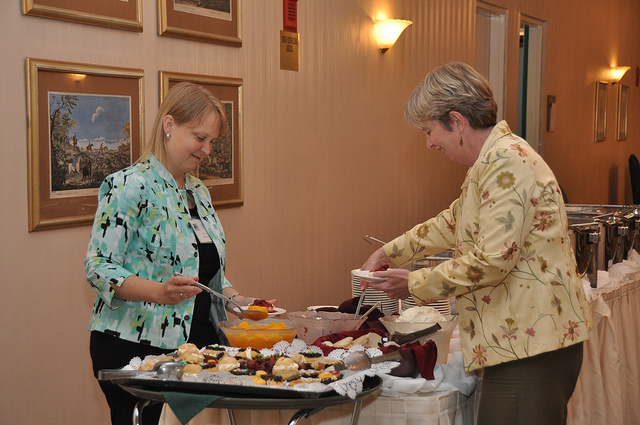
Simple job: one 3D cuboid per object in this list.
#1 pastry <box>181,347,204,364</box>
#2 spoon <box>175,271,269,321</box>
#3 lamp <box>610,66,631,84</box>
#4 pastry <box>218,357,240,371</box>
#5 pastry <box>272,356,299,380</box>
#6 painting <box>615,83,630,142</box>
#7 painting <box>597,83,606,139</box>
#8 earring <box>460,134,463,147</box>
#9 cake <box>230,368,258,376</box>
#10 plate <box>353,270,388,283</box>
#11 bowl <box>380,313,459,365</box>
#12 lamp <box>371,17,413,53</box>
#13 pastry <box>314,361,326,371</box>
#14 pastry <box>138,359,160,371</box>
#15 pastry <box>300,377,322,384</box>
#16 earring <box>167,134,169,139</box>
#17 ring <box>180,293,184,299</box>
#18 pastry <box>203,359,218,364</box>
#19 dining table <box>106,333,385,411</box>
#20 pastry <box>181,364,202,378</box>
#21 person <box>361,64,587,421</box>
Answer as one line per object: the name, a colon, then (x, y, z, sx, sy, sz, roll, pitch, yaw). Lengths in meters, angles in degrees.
pastry: (-0.489, 0.560, 2.248, 0.083, 0.062, 0.069, -4, 0, -32)
spoon: (-0.512, 0.433, 2.975, 0.586, 0.087, 0.139, 38, -4, -12)
lamp: (4.837, -2.246, 9.354, 0.276, 0.248, 0.290, 2, 0, 22)
pastry: (-0.344, 0.580, 2.202, 0.080, 0.047, 0.060, -4, 0, -8)
pastry: (-0.128, 0.583, 2.156, 0.066, 0.046, 0.071, -2, -10, 14)
painting: (5.050, -1.694, 9.716, 0.157, 0.798, 0.549, -3, 1, 39)
painting: (4.408, -1.603, 9.082, 0.044, 0.947, 0.445, 4, 7, 43)
earring: (0.627, -0.317, 2.567, 0.015, 0.063, 0.017, 0, 11, 23)
cake: (-0.283, 0.602, 2.176, 0.103, 0.027, 0.055, -5, 0, -6)
plate: (0.225, 0.308, 2.764, 0.108, 0.052, 0.256, -4, -1, -17)
bowl: (0.456, 0.519, 2.599, 0.232, 0.187, 0.271, -3, -2, 37)
lamp: (0.624, -1.612, 5.252, 0.263, 0.227, 0.283, 6, 13, 16)
pastry: (-0.001, 0.598, 2.240, 0.029, 0.012, 0.033, 14, -20, 17)
pastry: (-0.660, 0.595, 2.243, 0.071, 0.022, 0.059, -4, -1, -37)
pastry: (-0.030, 0.619, 2.128, 0.077, 0.020, 0.040, -5, 0, -7)
earring: (-0.726, -0.368, 2.788, 0.006, 0.022, 0.012, -4, 0, -21)
ring: (-0.592, 0.362, 2.497, 0.009, 0.009, 0.036, 5, -37, 11)
pastry: (-0.421, 0.580, 2.234, 0.087, 0.010, 0.026, 2, -4, 20)
dining table: (-0.271, 0.682, 2.401, 1.072, 0.311, 0.684, -5, 0, 6)
pastry: (-0.478, 0.598, 2.178, 0.042, 0.047, 0.015, -1, -39, -1)
person: (0.759, 0.123, 2.530, 0.699, 1.344, 0.338, -4, 1, 27)
